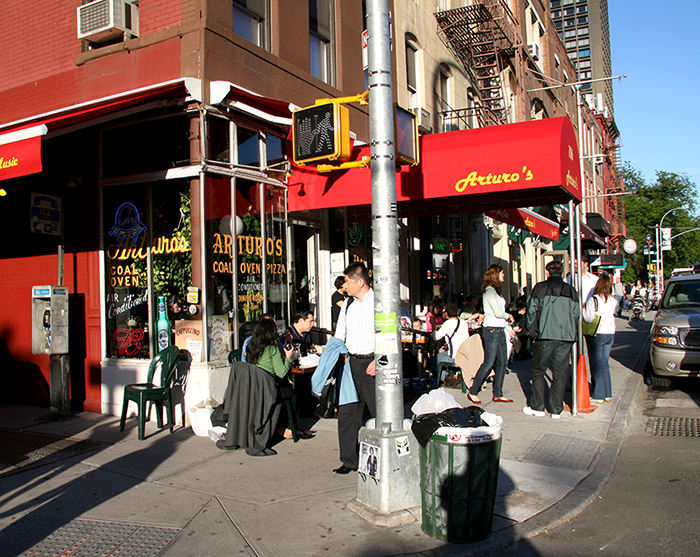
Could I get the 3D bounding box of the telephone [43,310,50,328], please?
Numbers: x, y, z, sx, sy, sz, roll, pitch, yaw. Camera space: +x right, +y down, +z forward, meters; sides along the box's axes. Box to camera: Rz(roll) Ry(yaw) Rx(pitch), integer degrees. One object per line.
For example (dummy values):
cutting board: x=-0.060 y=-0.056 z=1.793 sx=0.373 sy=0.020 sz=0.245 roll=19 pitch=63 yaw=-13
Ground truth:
telephone: x=-4.617 y=0.610 z=10.802 sx=0.114 sy=0.281 sz=0.089 roll=2 pitch=1 yaw=9

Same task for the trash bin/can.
trash bin/can: x=0.824 y=1.856 z=6.876 sx=0.867 sy=1.445 sz=1.024 roll=0 pitch=-5 yaw=3

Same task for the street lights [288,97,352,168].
street lights: x=-0.375 y=-1.976 z=9.630 sx=0.418 sy=0.757 sz=0.890 roll=-4 pitch=5 yaw=-43

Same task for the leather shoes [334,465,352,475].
leather shoes: x=-0.082 y=2.239 z=8.217 sx=0.172 sy=0.059 sz=0.095 roll=6 pitch=3 yaw=3

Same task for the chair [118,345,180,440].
chair: x=-2.796 y=1.572 z=10.014 sx=0.718 sy=1.217 sz=0.751 roll=-4 pitch=5 yaw=-43

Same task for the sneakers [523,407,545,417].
sneakers: x=2.692 y=1.941 z=10.337 sx=0.108 sy=0.150 sz=0.291 roll=-6 pitch=12 yaw=-42

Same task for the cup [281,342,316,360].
cup: x=-0.828 y=1.016 z=9.921 sx=0.331 sy=0.132 sz=0.153 roll=3 pitch=-27 yaw=33

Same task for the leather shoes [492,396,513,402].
leather shoes: x=2.438 y=1.937 z=11.248 sx=0.228 sy=0.071 sz=0.122 roll=-3 pitch=3 yaw=8
